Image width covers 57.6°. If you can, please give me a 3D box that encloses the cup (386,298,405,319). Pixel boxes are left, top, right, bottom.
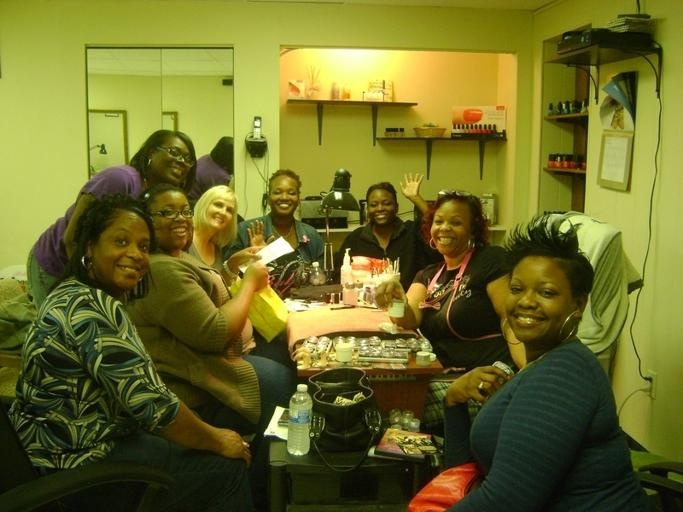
[{"bbox_3d":[0.283,0.279,3.180,0.095,0.078,0.091,2,1,0],"label":"cup"}]

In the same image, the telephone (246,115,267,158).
[{"bbox_3d":[-0.709,-0.990,5.096,0.197,0.299,0.169,1,25,-23],"label":"telephone"}]

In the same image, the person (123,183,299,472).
[{"bbox_3d":[-0.631,0.471,3.209,0.877,1.589,0.755,-2,16,-6],"label":"person"}]

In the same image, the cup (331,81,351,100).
[{"bbox_3d":[-0.006,-1.543,5.817,0.182,0.165,0.165,1,14,2],"label":"cup"}]

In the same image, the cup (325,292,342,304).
[{"bbox_3d":[-0.052,0.273,3.911,0.082,0.055,0.076,-1,12,0],"label":"cup"}]

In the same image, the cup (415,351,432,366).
[{"bbox_3d":[0.387,0.481,2.933,0.069,0.060,0.091,0,10,6],"label":"cup"}]

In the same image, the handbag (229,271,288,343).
[{"bbox_3d":[-0.422,0.304,3.789,0.194,0.384,0.473,-34,57,-2],"label":"handbag"}]

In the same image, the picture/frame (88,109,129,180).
[{"bbox_3d":[-1.937,-0.897,5.107,0.326,0.590,0.035,-7,18,-37],"label":"picture/frame"}]

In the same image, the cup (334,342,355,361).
[{"bbox_3d":[0.011,0.454,2.919,0.082,0.058,0.079,-1,6,0],"label":"cup"}]

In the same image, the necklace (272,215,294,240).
[{"bbox_3d":[-0.430,-0.203,4.545,0.133,0.168,0.151,-2,29,-7],"label":"necklace"}]

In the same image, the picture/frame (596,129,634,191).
[{"bbox_3d":[1.807,-0.640,4.127,0.365,0.359,0.014,-2,8,-38],"label":"picture/frame"}]

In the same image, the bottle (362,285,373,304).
[{"bbox_3d":[0.162,0.241,3.735,0.090,0.146,0.082,1,7,2],"label":"bottle"}]

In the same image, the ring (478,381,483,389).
[{"bbox_3d":[0.517,0.487,2.306,0.006,0.018,0.018,19,-22,-28],"label":"ring"}]
